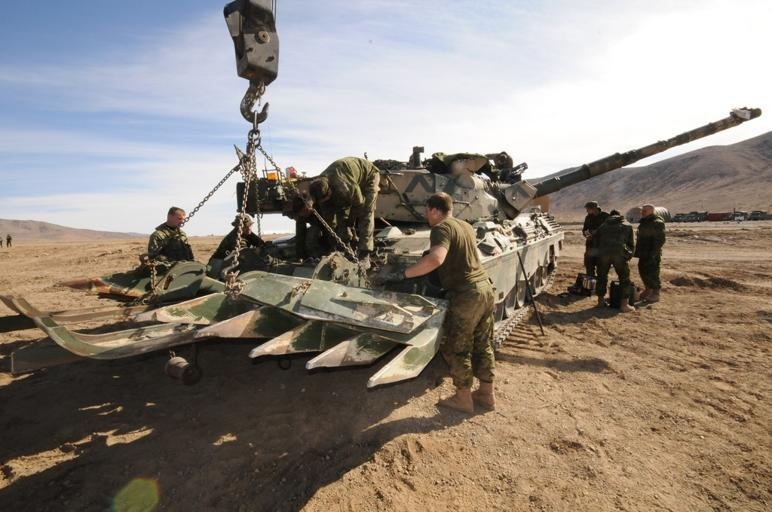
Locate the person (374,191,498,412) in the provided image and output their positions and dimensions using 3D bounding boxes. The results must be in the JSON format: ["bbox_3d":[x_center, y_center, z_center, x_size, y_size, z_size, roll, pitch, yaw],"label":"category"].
[{"bbox_3d":[0.935,0.700,6.153,1.188,3.009,0.816,-2,12,0],"label":"person"}]

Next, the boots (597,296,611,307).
[{"bbox_3d":[5.168,1.098,10.795,0.291,0.271,0.267,-2,-1,5],"label":"boots"}]

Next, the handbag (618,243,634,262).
[{"bbox_3d":[5.541,-0.047,10.367,0.209,0.434,0.390,13,2,0],"label":"handbag"}]

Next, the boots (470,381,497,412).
[{"bbox_3d":[1.408,2.011,6.485,0.220,0.350,0.537,-1,3,-6],"label":"boots"}]

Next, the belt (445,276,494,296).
[{"bbox_3d":[1.150,0.440,6.195,0.444,0.195,0.322,-18,-4,6],"label":"belt"}]

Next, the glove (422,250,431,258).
[{"bbox_3d":[0.565,-0.016,6.309,0.150,0.091,0.111,-12,15,-36],"label":"glove"}]

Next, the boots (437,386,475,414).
[{"bbox_3d":[1.030,2.025,6.488,0.247,0.377,0.627,2,0,-41],"label":"boots"}]

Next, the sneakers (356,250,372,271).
[{"bbox_3d":[-0.330,0.101,6.931,0.199,0.317,0.207,3,-27,-15],"label":"sneakers"}]
